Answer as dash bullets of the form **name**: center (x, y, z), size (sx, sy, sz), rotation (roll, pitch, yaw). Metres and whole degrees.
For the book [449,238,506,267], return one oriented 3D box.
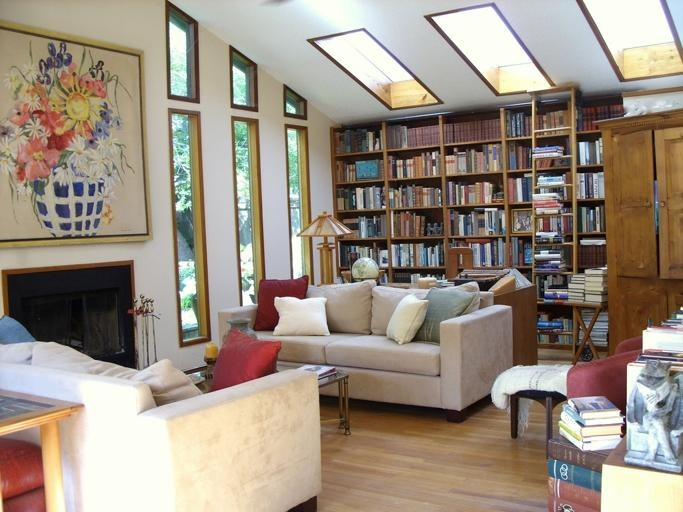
- **book**: center (1.834, -0.032, 6.990), size (0.377, 0.361, 0.137), rotation (3, 6, 32)

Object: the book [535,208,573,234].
- **book**: center (2.722, -0.422, 6.780), size (0.561, 0.299, 0.543), rotation (0, 11, 32)

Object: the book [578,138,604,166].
- **book**: center (3.110, -1.277, 6.668), size (0.317, 0.417, 0.430), rotation (0, 1, 24)

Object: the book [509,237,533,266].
- **book**: center (2.386, -0.050, 7.070), size (0.279, 0.381, 0.090), rotation (1, 5, 28)

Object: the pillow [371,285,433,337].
- **pillow**: center (0.599, 0.591, 5.150), size (0.660, 0.543, 0.246), rotation (6, -19, -4)

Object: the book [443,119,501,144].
- **book**: center (1.794, -1.698, 7.285), size (0.776, 0.283, 0.066), rotation (1, 5, 26)

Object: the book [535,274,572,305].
- **book**: center (2.712, 0.412, 6.813), size (0.396, 0.337, 0.315), rotation (1, 5, 20)

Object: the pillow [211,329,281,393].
- **pillow**: center (-0.590, 0.656, 3.085), size (0.479, 0.354, 0.182), rotation (3, -8, 45)

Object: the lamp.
- **lamp**: center (-0.178, -0.067, 6.137), size (0.638, 0.807, 0.612), rotation (-4, 3, -28)

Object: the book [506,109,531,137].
- **book**: center (2.357, -1.744, 7.056), size (0.298, 0.398, 0.410), rotation (2, 2, 17)

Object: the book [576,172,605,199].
- **book**: center (3.152, -0.816, 6.772), size (0.292, 0.398, 0.412), rotation (-2, -2, 16)

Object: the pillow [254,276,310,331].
- **pillow**: center (-0.585, 0.494, 5.300), size (0.500, 0.518, 0.201), rotation (-1, -26, 5)

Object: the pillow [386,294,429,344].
- **pillow**: center (0.564, 0.590, 4.790), size (0.273, 0.369, 0.514), rotation (1, -5, -12)

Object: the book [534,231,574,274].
- **book**: center (2.713, -0.051, 6.792), size (0.483, 0.503, 0.343), rotation (0, 5, 15)

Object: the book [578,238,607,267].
- **book**: center (3.157, 0.009, 6.797), size (0.443, 0.420, 0.321), rotation (-2, -2, 31)

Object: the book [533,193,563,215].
- **book**: center (2.581, -0.650, 6.667), size (0.354, 0.224, 0.265), rotation (1, 3, 31)

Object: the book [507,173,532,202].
- **book**: center (2.399, -0.852, 7.138), size (0.313, 0.428, 0.438), rotation (0, 0, 19)

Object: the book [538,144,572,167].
- **book**: center (2.669, -1.243, 6.732), size (0.453, 0.258, 0.140), rotation (0, 5, 16)

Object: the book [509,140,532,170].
- **book**: center (2.380, -1.282, 7.182), size (0.321, 0.430, 0.447), rotation (1, 0, 28)

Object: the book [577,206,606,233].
- **book**: center (3.168, -0.427, 6.681), size (0.286, 0.383, 0.400), rotation (0, 1, 26)

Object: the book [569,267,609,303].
- **book**: center (2.765, 0.335, 5.930), size (0.343, 0.232, 0.475), rotation (0, 3, 40)

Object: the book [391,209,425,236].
- **book**: center (1.016, -0.412, 8.007), size (0.511, 0.476, 0.362), rotation (1, -4, 19)

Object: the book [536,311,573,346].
- **book**: center (2.756, 0.951, 6.863), size (0.414, 0.408, 0.408), rotation (1, 5, 20)

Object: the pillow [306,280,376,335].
- **pillow**: center (0.042, 0.529, 5.387), size (0.708, 0.483, 0.256), rotation (-7, 2, 43)

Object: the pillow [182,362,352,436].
- **pillow**: center (-0.412, 0.828, 3.051), size (0.790, 0.380, 0.556), rotation (-2, -2, 36)

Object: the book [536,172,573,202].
- **book**: center (2.721, -0.869, 6.767), size (0.406, 0.377, 0.372), rotation (-1, -1, 34)
